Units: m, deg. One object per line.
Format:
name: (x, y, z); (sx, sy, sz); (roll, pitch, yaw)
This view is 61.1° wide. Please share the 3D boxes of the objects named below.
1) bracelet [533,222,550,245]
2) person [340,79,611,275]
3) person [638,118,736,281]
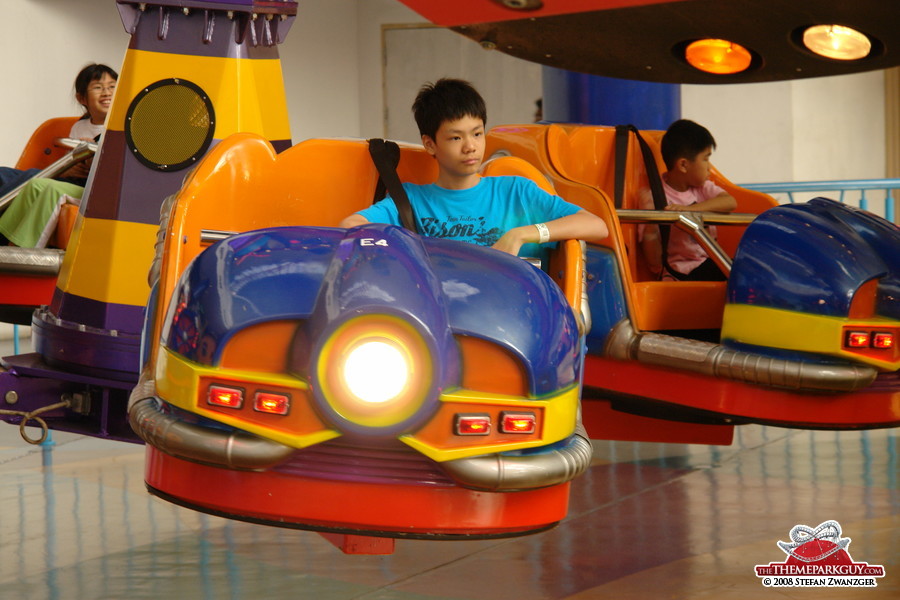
bracelet: (0.239, -0.173, 1.987); (0.037, 0.047, 0.017); (5, -41, -18)
person: (0.018, -0.264, 2.179); (0.798, 0.644, 0.420); (-2, 14, 0)
person: (1.015, -0.431, 3.276); (0.402, 0.678, 0.556); (3, 8, 19)
